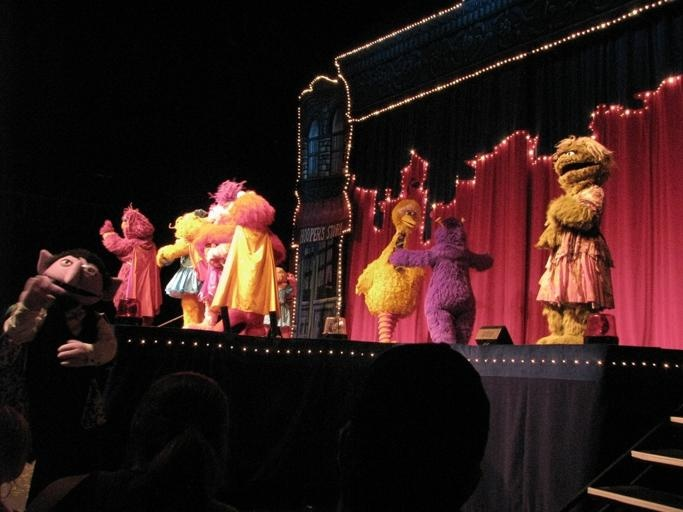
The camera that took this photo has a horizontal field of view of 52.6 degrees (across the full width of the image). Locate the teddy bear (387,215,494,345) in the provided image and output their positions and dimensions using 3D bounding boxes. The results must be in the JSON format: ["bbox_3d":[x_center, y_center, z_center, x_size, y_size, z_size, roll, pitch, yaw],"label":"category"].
[{"bbox_3d":[0.840,0.179,5.674,0.464,1.086,0.787,4,-10,-10],"label":"teddy bear"}]

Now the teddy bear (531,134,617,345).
[{"bbox_3d":[1.587,-0.163,4.741,0.519,1.544,0.597,-1,-10,21],"label":"teddy bear"}]
